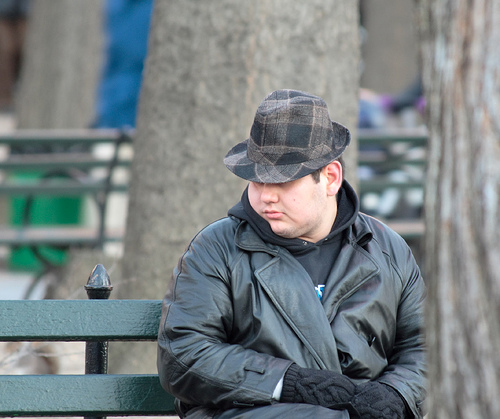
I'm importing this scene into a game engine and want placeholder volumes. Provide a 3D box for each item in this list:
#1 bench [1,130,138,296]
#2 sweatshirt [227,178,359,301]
[{"bbox_3d":[-1.197,-0.088,9.378,1.279,0.993,0.325,0,11,-25],"label":"bench"},{"bbox_3d":[0.234,0.060,7.850,0.568,0.399,0.550,18,39,29],"label":"sweatshirt"}]
